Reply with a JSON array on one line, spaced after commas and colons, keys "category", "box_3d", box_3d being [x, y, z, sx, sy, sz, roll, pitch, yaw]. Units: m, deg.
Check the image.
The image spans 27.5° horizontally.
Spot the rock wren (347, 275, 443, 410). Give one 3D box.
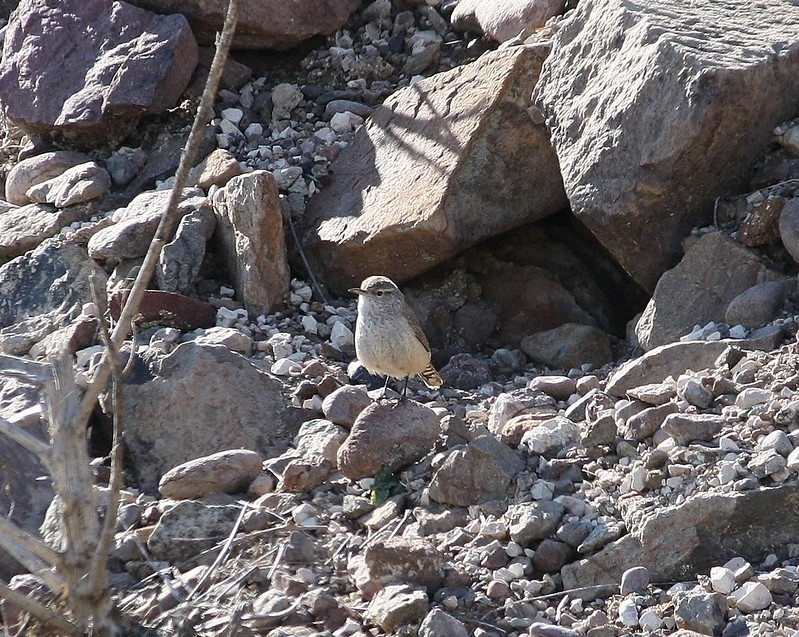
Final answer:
[{"category": "rock wren", "box_3d": [-0.037, 0.236, 11.489, 0.477, 1.059, 0.616, -22, 28, 2]}]
